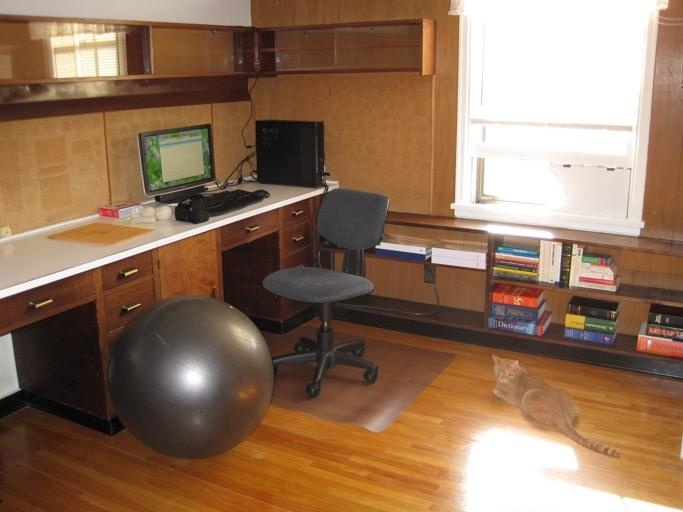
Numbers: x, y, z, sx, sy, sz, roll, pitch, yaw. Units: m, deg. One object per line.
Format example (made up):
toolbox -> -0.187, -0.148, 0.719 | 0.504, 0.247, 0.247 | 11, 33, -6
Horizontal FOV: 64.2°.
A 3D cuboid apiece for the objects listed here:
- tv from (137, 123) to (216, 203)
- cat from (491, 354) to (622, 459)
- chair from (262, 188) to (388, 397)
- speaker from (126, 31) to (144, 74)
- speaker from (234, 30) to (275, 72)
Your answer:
tv -> -1.117, -0.618, 3.689 | 0.199, 0.478, 0.676 | 11, 21, 25
cat -> 1.172, 0.864, 3.122 | 0.252, 0.282, 0.817 | -15, 30, -30
chair -> -0.091, 0.216, 3.589 | 0.784, 1.204, 0.820 | 8, 17, 26
speaker -> -1.227, -1.192, 3.202 | 0.041, 0.233, 0.139 | 8, 22, 20
speaker -> -0.721, -1.566, 4.186 | 0.380, 0.336, 0.198 | -18, 37, -37
